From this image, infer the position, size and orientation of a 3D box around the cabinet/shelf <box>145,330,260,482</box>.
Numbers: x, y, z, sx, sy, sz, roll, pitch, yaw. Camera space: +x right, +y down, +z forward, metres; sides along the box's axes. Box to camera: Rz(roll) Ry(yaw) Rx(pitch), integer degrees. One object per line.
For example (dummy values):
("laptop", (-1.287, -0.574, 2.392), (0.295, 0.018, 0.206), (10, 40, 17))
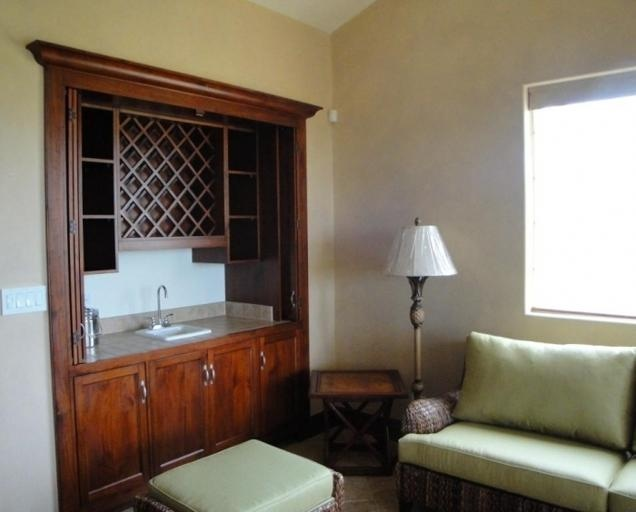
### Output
("cabinet/shelf", (-0.764, 0.950, 3.481), (0.312, 0.800, 0.792), (-1, 0, 42))

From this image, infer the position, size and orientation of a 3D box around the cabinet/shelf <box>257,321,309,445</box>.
("cabinet/shelf", (-0.275, 0.972, 4.154), (0.134, 0.833, 0.502), (-3, 1, 36))

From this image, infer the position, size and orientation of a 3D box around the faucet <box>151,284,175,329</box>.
("faucet", (-1.147, 0.368, 4.011), (0.154, 0.334, 0.276), (-4, 1, -12))

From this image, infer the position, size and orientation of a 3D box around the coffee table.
("coffee table", (0.278, 1.197, 3.968), (0.711, 0.594, 0.752), (0, 3, 12))
